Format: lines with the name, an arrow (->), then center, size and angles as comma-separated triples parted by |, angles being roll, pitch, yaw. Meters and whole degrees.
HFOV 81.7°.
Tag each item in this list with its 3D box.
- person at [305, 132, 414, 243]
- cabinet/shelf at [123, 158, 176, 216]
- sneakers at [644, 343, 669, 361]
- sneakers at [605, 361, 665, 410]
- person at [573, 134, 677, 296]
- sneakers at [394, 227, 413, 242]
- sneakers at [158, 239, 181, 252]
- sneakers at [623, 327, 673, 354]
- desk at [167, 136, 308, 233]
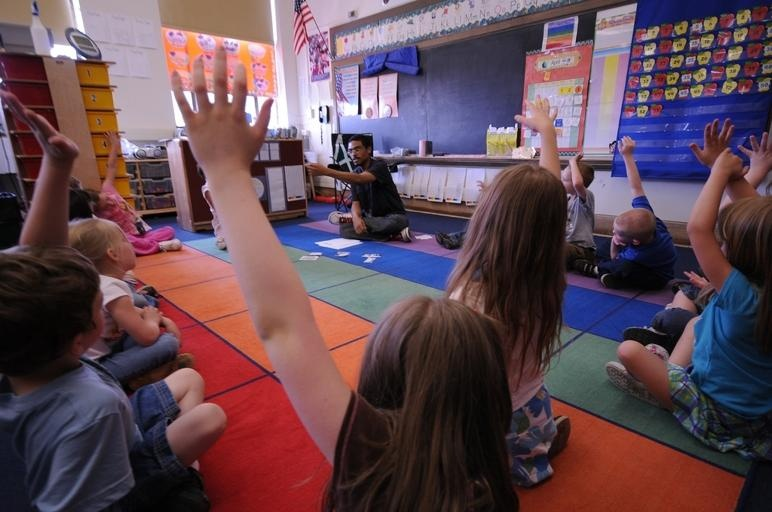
person -> -0.533, -0.718, 5.726 | 1.400, 1.459, 1.038 | -7, -2, -39
cabinet/shelf -> -3.712, -1.111, 6.979 | 0.608, 0.814, 0.828 | 10, 18, 33
sneakers -> 1.494, 0.523, 2.474 | 0.138, 0.049, 0.136 | 4, 11, 14
sneakers -> 1.304, 0.681, 2.444 | 0.330, 0.150, 0.115 | 19, 26, 31
person -> 1.961, -0.316, 3.639 | 0.644, 1.155, 0.939 | 3, 24, 13
sneakers -> 0.218, -0.245, 5.314 | 0.136, 0.108, 0.318 | -33, 6, 5
sneakers -> -2.335, -0.124, 4.868 | 0.177, 0.110, 0.072 | -2, -27, -26
sneakers -> 1.454, 0.468, 2.479 | 0.239, 0.092, 0.097 | 10, 0, 34
desk -> -2.021, -1.119, 6.434 | 1.746, 1.248, 0.579 | -16, 29, -37
